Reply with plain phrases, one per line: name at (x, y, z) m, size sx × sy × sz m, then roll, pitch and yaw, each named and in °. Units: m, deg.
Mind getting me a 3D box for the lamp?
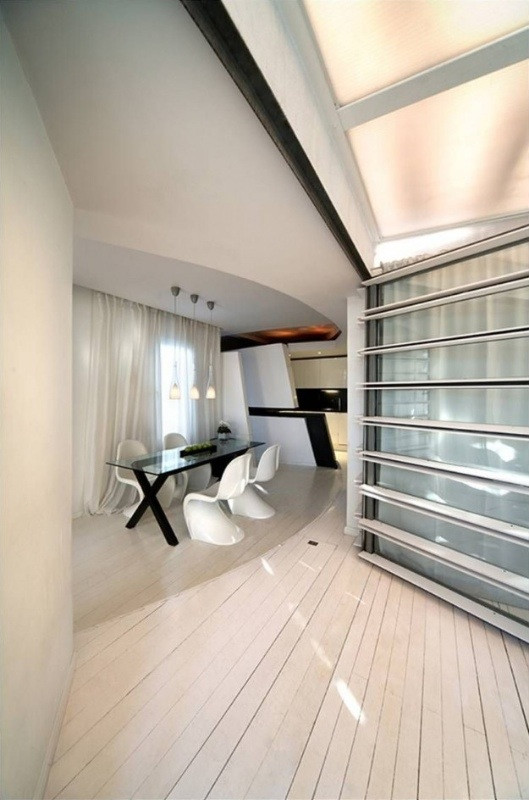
lamp at (-0.830, -0.636, 5.065) m, size 0.196 × 1.526 × 0.837 m, roll -3°, pitch -3°, yaw 32°
